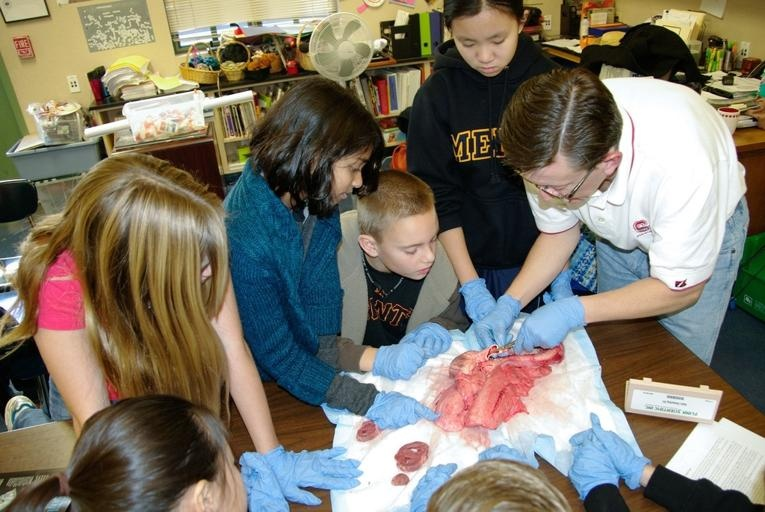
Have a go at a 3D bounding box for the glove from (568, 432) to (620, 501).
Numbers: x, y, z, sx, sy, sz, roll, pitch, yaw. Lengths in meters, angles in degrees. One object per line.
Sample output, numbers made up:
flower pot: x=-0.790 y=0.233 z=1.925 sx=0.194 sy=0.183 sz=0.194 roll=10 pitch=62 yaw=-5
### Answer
glove: x=0.638 y=0.637 z=1.608 sx=0.148 sy=0.065 sz=0.177 roll=-26 pitch=59 yaw=-9

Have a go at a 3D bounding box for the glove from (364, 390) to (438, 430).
glove: x=0.060 y=0.523 z=1.796 sx=0.243 sy=0.075 sz=0.109 roll=-8 pitch=25 yaw=-1

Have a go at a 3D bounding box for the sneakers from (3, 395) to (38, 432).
sneakers: x=-1.633 y=0.709 z=2.332 sx=0.083 sy=0.078 sz=0.189 roll=-1 pitch=35 yaw=-19

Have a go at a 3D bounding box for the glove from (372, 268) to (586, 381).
glove: x=0.379 y=0.277 z=2.089 sx=0.535 sy=0.106 sz=0.128 roll=-32 pitch=64 yaw=-27

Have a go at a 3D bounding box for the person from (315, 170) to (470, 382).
person: x=0.053 y=0.076 z=2.332 sx=0.600 sy=0.776 sz=0.789 roll=-20 pitch=37 yaw=-30

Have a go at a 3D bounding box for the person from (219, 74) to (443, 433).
person: x=-0.144 y=0.003 z=1.944 sx=0.879 sy=1.119 sz=0.638 roll=15 pitch=23 yaw=27

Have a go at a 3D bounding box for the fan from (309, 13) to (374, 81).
fan: x=-0.306 y=-1.535 z=3.832 sx=0.493 sy=0.455 sz=0.190 roll=-23 pitch=29 yaw=-32

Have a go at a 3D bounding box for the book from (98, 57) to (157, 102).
book: x=-2.374 y=-1.684 z=4.841 sx=0.482 sy=0.225 sz=0.401 roll=-3 pitch=48 yaw=-10

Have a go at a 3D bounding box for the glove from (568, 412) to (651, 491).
glove: x=0.682 y=0.609 z=1.565 sx=0.190 sy=0.064 sz=0.199 roll=-21 pitch=58 yaw=-15

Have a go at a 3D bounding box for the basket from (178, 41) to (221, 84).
basket: x=-1.771 y=-1.832 z=5.012 sx=0.364 sy=0.354 sz=0.607 roll=-15 pitch=26 yaw=-17

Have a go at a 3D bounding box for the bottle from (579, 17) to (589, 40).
bottle: x=2.095 y=-2.358 z=5.370 sx=0.077 sy=0.179 sz=0.340 roll=3 pitch=27 yaw=21

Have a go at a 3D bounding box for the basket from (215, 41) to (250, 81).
basket: x=-1.417 y=-1.862 z=4.929 sx=0.298 sy=0.374 sz=0.245 roll=-2 pitch=-6 yaw=-2
